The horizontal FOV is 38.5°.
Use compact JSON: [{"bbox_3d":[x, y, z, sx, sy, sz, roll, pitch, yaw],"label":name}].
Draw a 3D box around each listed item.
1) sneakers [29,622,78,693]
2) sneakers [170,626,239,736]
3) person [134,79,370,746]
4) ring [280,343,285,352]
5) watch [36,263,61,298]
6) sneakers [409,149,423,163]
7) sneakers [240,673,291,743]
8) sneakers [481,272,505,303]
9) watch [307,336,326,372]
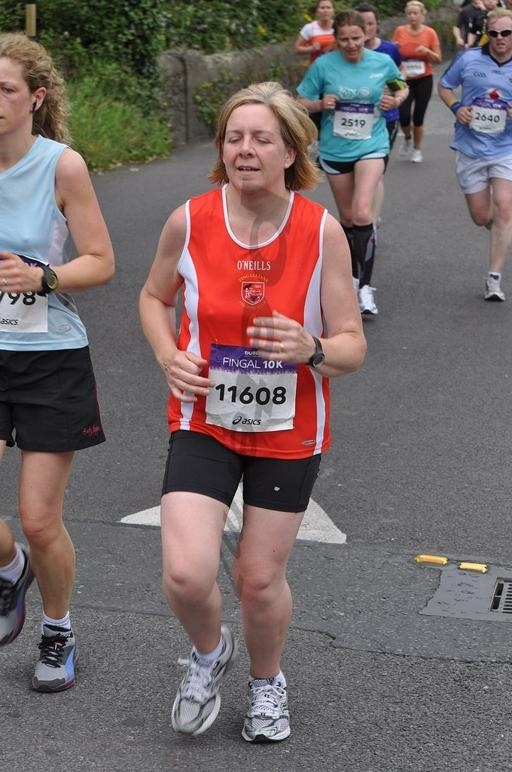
[{"bbox_3d":[-0.572,0.789,2.118,0.080,0.090,0.221,1,9,-1],"label":"sneakers"},{"bbox_3d":[-0.103,0.685,1.804,0.112,0.299,0.121,17,-17,-1],"label":"sneakers"},{"bbox_3d":[-0.006,0.086,1.766,0.535,1.613,0.534,0,6,-10],"label":"person"},{"bbox_3d":[0.053,-0.080,1.510,0.011,0.013,0.013,-14,45,28],"label":"ring"},{"bbox_3d":[-0.535,-0.283,1.919,0.077,0.081,0.055,-14,-10,42],"label":"watch"},{"bbox_3d":[2.890,-4.127,13.178,0.158,0.149,0.373,-2,12,9],"label":"sneakers"},{"bbox_3d":[0.023,0.806,1.820,0.079,0.084,0.192,-1,-3,4],"label":"sneakers"},{"bbox_3d":[2.339,-0.961,7.332,0.175,0.244,0.377,2,6,-4],"label":"sneakers"},{"bbox_3d":[0.126,-0.070,1.571,0.041,0.062,0.062,7,49,-13],"label":"watch"}]
